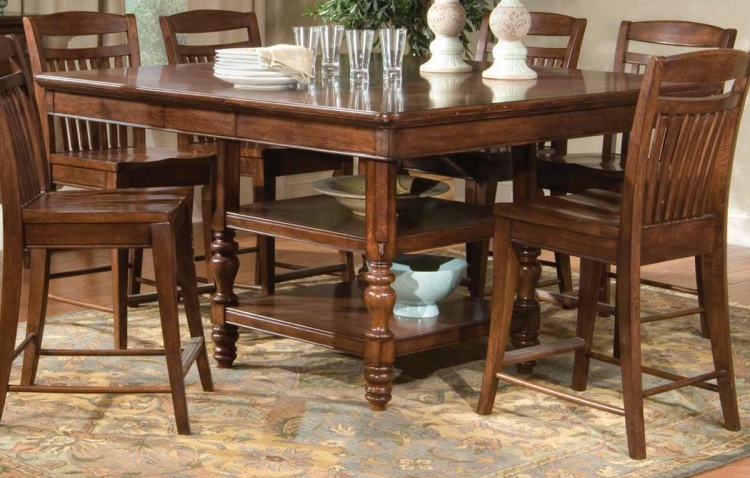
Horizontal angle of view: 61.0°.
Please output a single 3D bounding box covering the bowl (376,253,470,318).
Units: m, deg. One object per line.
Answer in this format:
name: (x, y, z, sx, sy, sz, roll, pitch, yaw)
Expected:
bowl: (0.158, 0.175, 2.489, 0.338, 0.114, 0.324, 0, 7, 0)
